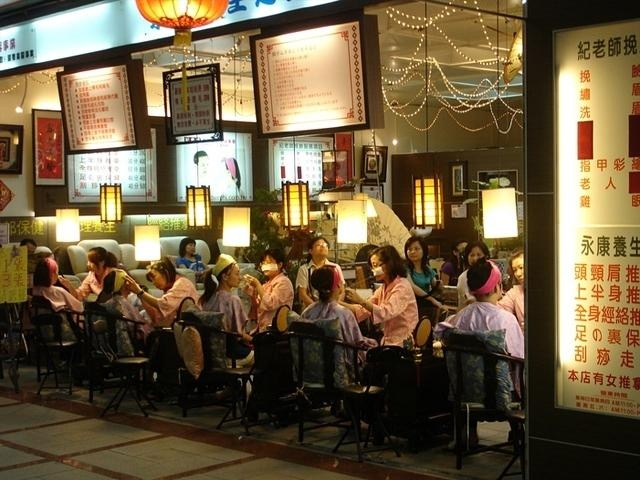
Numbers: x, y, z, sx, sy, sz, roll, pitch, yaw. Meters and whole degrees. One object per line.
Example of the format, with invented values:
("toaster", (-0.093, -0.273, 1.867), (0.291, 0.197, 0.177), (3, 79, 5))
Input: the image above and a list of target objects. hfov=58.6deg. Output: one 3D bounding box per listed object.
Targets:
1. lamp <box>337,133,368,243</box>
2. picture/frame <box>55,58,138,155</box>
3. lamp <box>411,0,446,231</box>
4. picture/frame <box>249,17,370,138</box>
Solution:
("lamp", (0.444, -0.689, 7.251), (0.407, 1.552, 0.422), (-4, -18, 26))
("picture/frame", (-2.434, -1.449, 6.397), (0.932, 0.957, 0.129), (-1, 8, 18))
("lamp", (1.876, -2.176, 9.999), (0.524, 4.023, 0.820), (2, -3, -42))
("picture/frame", (-0.064, -1.448, 4.964), (0.963, 0.929, 0.131), (-3, 7, 33))
